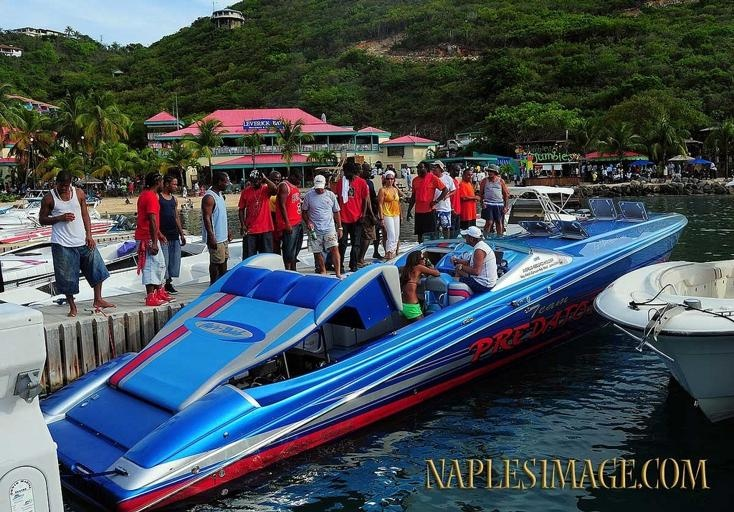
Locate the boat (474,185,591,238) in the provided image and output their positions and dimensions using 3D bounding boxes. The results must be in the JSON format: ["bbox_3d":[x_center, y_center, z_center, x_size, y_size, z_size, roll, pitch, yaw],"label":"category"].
[{"bbox_3d":[3.941,-1.041,16.817,1.223,1.010,2.194,0,5,20],"label":"boat"}]

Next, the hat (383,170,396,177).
[{"bbox_3d":[0.420,-1.507,13.665,0.158,0.147,0.196,1,22,2],"label":"hat"}]

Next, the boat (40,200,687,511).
[{"bbox_3d":[0.712,1.351,11.138,9.891,2.151,3.029,-16,18,-30],"label":"boat"}]

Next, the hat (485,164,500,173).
[{"bbox_3d":[2.571,-1.808,15.121,0.245,0.118,0.192,17,-11,-41],"label":"hat"}]

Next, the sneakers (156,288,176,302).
[{"bbox_3d":[-3.200,0.632,11.916,0.342,0.137,0.114,8,15,7],"label":"sneakers"}]

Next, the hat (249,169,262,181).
[{"bbox_3d":[-1.843,-1.336,12.207,0.195,0.154,0.328,-1,10,15],"label":"hat"}]

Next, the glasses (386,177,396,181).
[{"bbox_3d":[0.440,-1.418,13.706,0.055,0.075,0.308,0,10,22],"label":"glasses"}]

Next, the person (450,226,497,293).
[{"bbox_3d":[1.531,0.085,10.728,0.654,0.983,0.593,16,32,34],"label":"person"}]

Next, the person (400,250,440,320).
[{"bbox_3d":[0.741,0.447,10.488,0.518,1.279,0.491,-17,30,-29],"label":"person"}]

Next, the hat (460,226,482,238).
[{"bbox_3d":[1.505,-0.350,10.761,0.261,0.113,0.183,10,13,28],"label":"hat"}]
